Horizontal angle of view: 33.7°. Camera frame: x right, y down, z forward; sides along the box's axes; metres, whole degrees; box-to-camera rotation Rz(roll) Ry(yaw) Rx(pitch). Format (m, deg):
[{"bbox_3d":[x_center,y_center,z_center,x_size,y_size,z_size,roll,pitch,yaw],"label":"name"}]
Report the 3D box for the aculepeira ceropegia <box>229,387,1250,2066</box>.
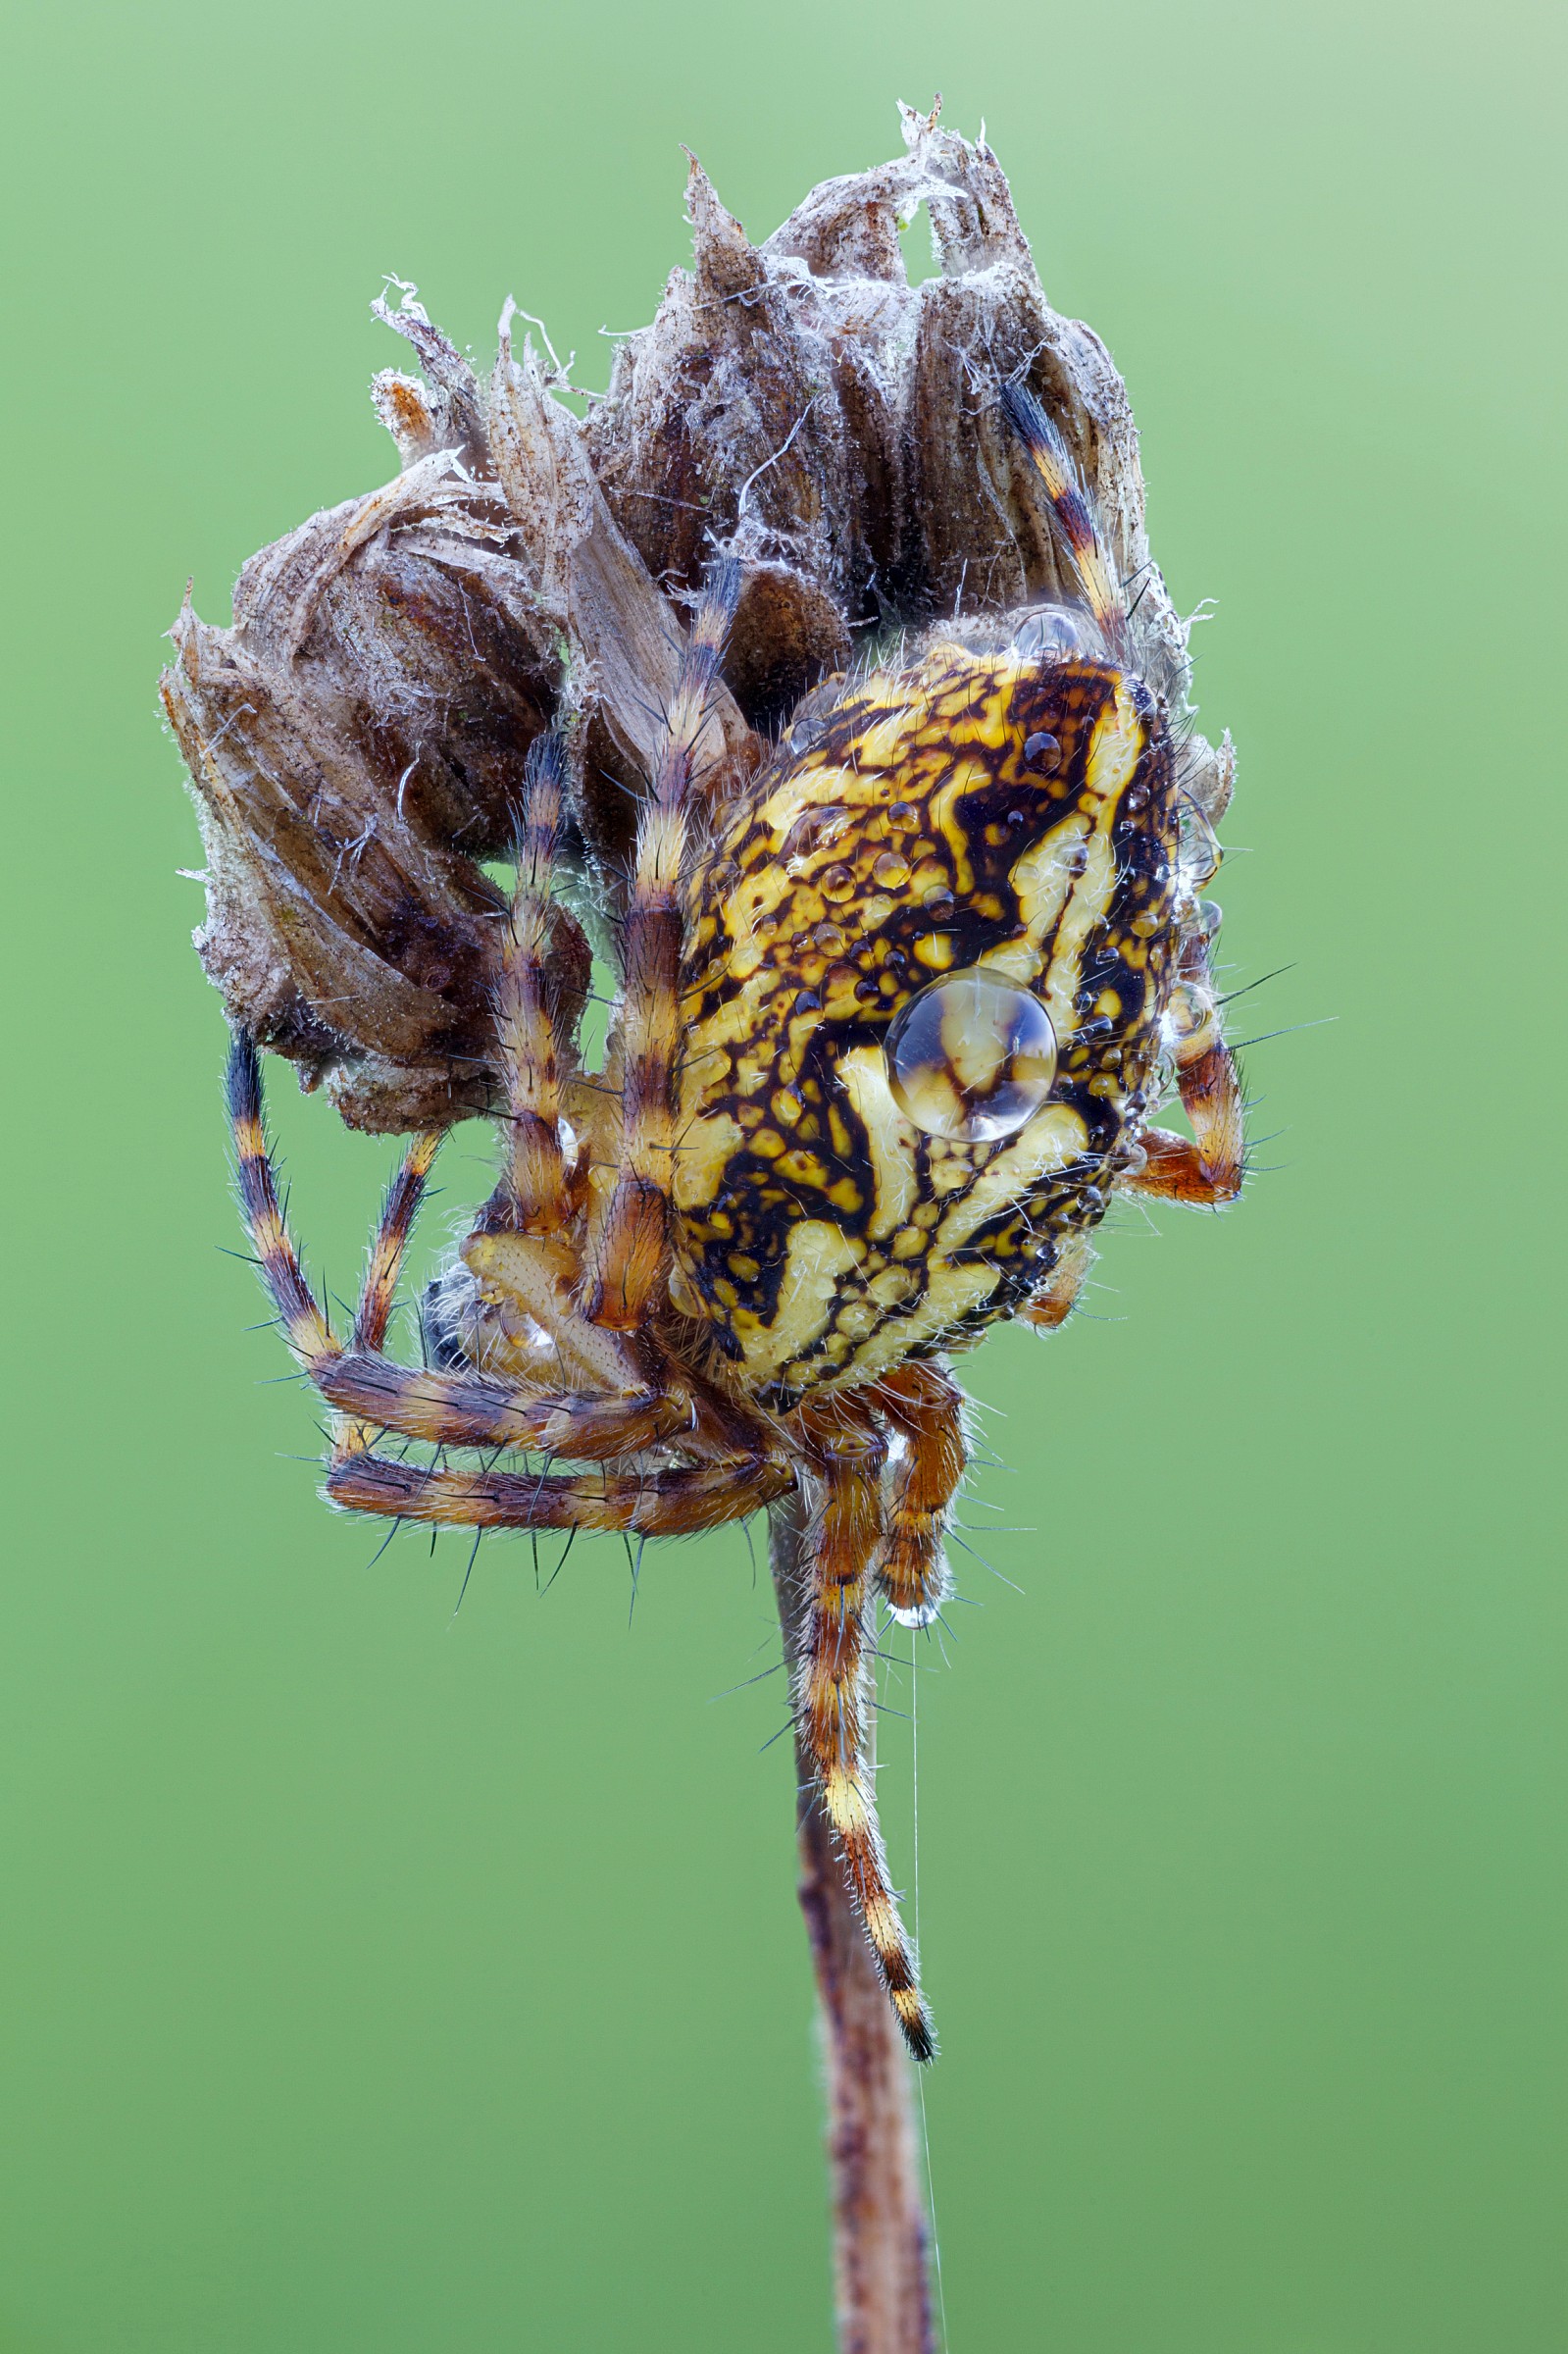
[{"bbox_3d":[0.052,-0.026,1.998,0.389,1.195,0.910,8,-7,28],"label":"aculepeira ceropegia"}]
